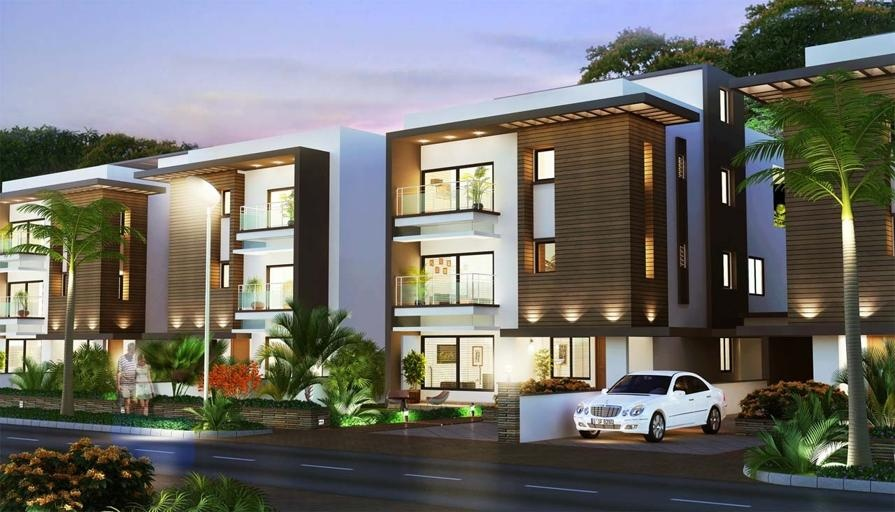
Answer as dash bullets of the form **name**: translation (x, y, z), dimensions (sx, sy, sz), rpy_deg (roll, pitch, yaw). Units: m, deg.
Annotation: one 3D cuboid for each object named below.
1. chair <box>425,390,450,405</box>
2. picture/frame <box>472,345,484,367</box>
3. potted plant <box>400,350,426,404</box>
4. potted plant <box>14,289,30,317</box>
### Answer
- **chair**: translation (-0.369, 6.401, 34.477), dimensions (1.097, 0.573, 1.011), rpy_deg (2, -4, -10)
- **picture/frame**: translation (1.525, 5.114, 39.182), dimensions (0.778, 1.016, 0.094), rpy_deg (-6, -9, 35)
- **potted plant**: translation (-1.741, 6.147, 39.457), dimensions (1.224, 2.645, 1.423), rpy_deg (-1, -7, -3)
- **potted plant**: translation (-28.156, 3.234, 51.160), dimensions (1.201, 1.779, 0.503), rpy_deg (-4, -8, 18)
